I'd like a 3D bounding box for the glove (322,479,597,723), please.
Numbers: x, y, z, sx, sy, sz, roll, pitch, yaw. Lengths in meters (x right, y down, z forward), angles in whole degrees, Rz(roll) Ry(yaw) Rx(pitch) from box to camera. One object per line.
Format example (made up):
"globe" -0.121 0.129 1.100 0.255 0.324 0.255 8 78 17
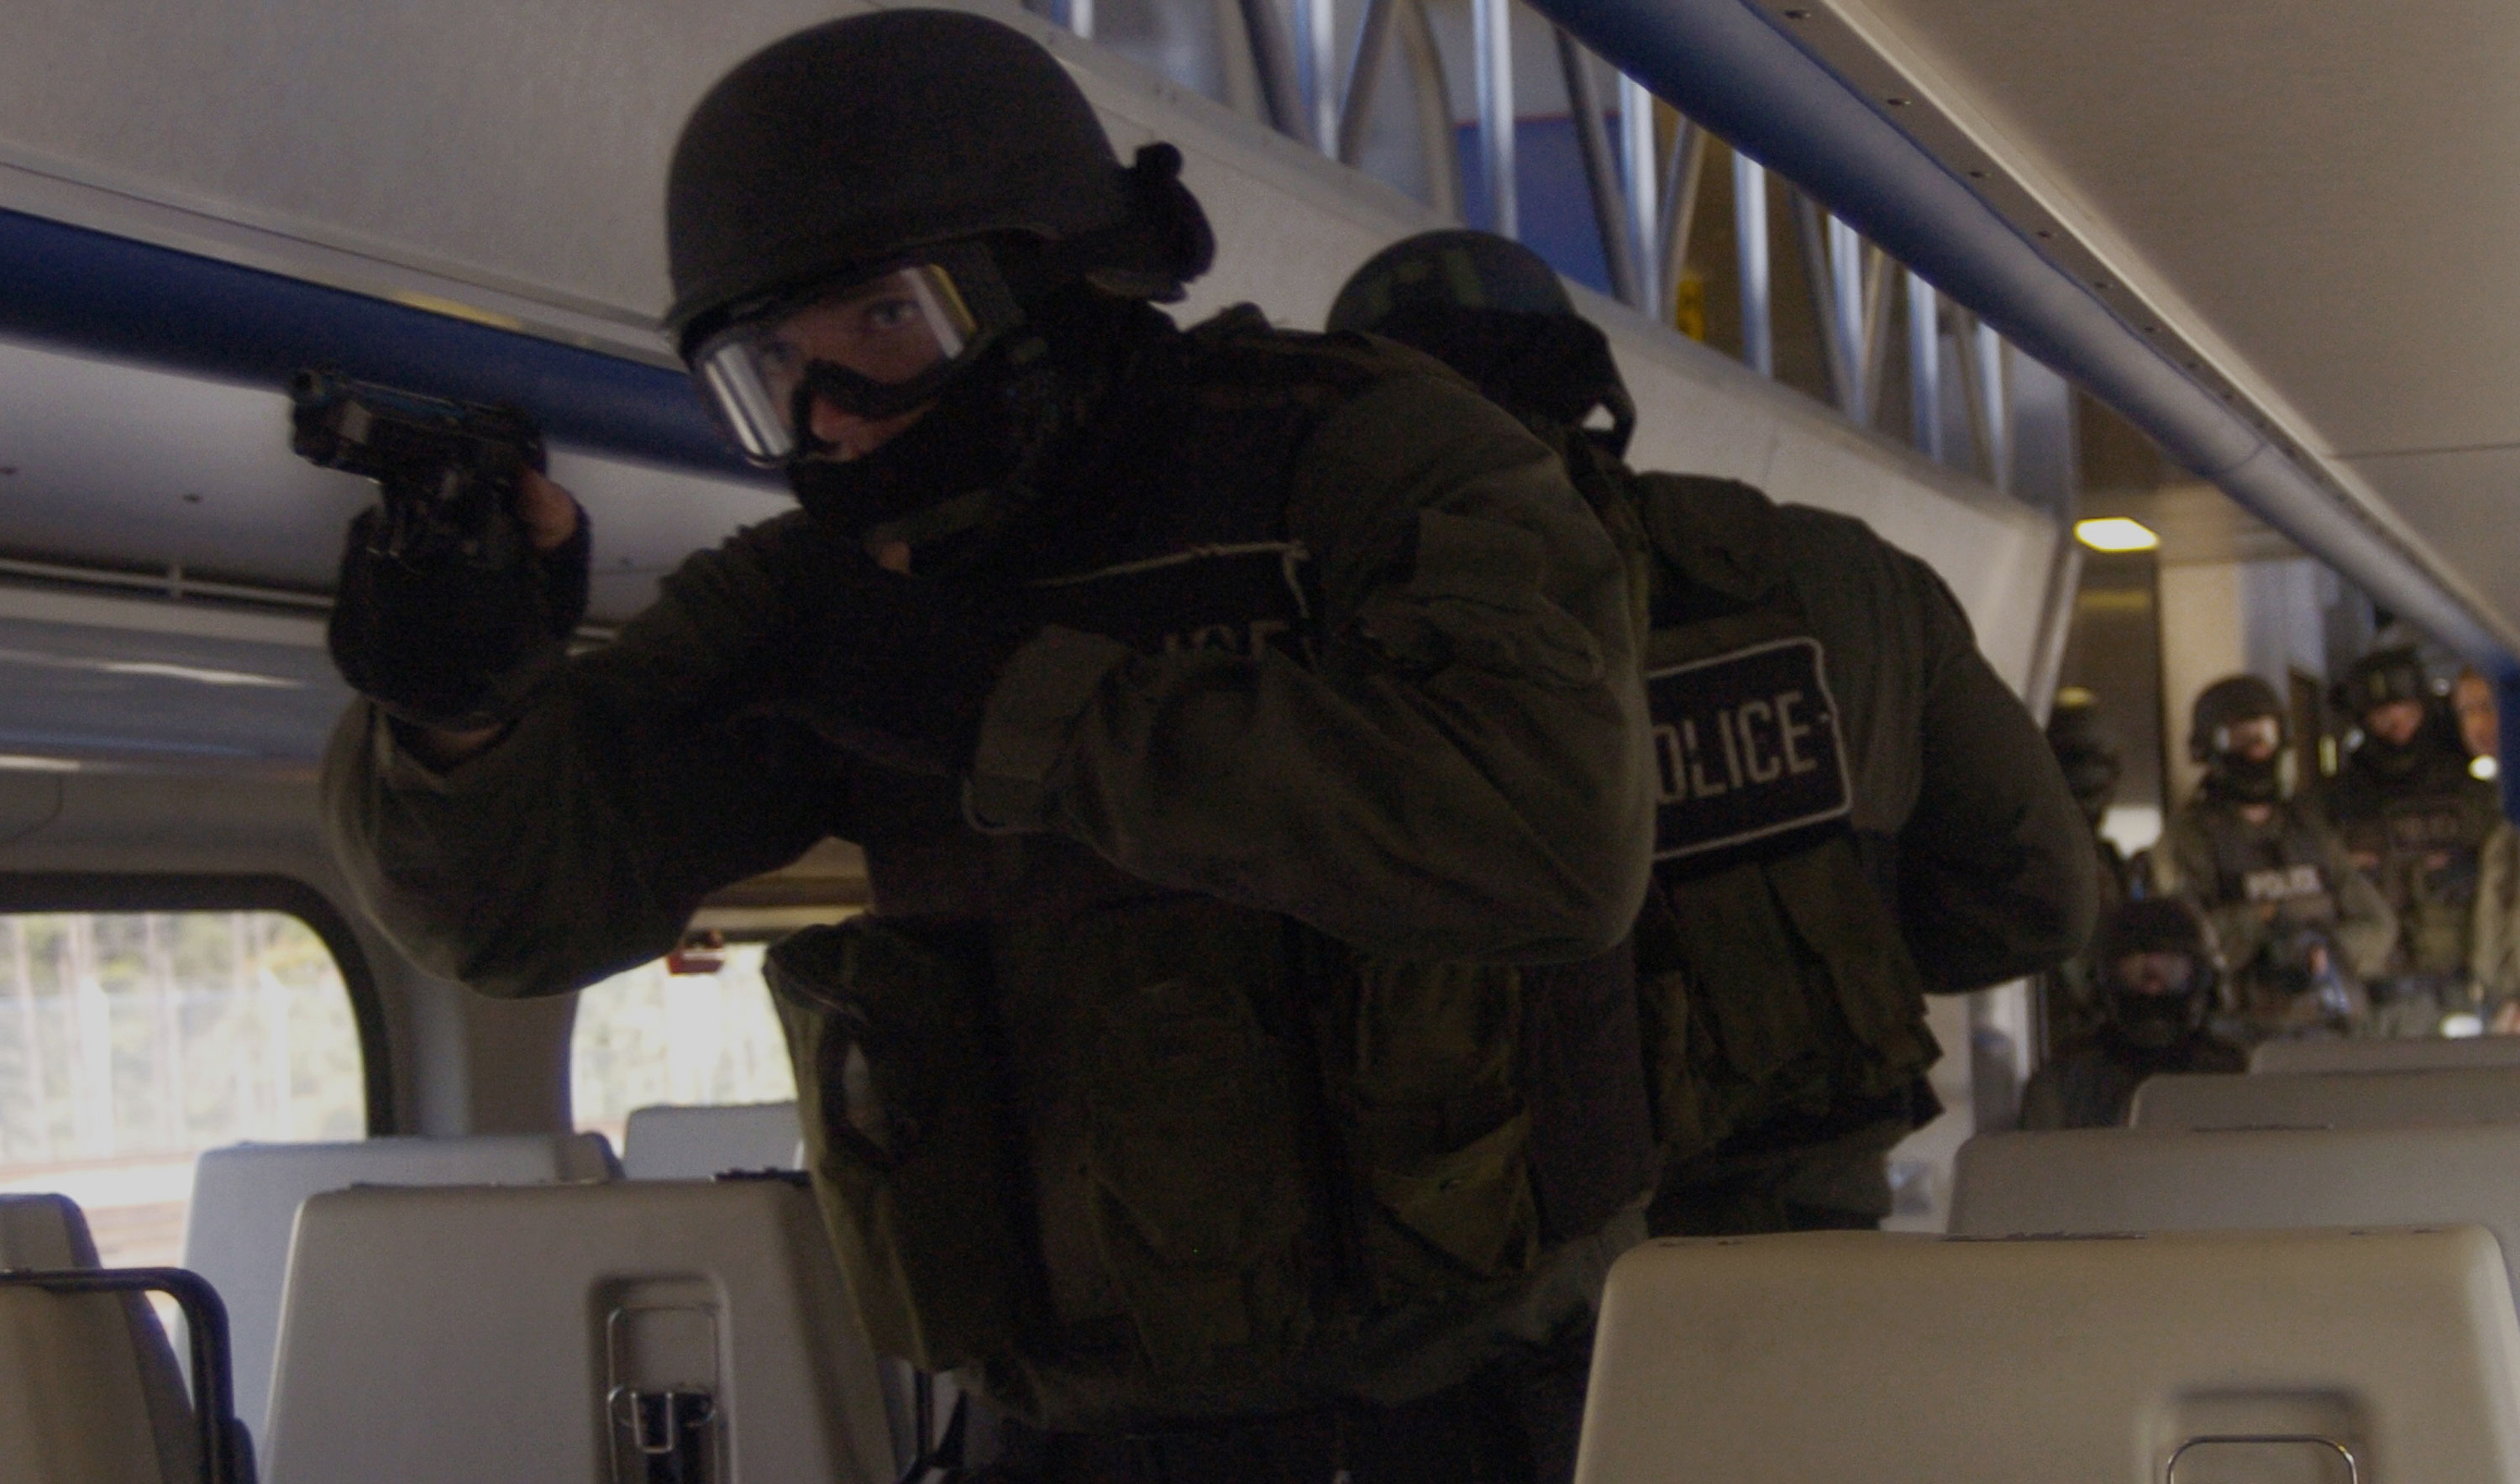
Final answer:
"glove" -1.048 -0.162 3.019 0.281 0.359 0.156 0 3 -10

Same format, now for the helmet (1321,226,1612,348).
"helmet" 0.362 -0.867 4.421 0.508 0.180 0.451 -3 -4 -37

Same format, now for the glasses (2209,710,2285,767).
"glasses" 4.575 -0.001 10.656 0.209 0.157 0.277 -4 -6 -7

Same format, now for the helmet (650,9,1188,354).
"helmet" -0.451 -0.719 3.172 0.598 0.340 0.508 -3 -10 -42

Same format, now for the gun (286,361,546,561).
"gun" -1.084 -0.363 3.067 0.415 0.206 0.145 15 4 -40

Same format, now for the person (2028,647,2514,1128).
"person" 4.136 0.568 9.183 1.141 1.141 2.669 14 35 24

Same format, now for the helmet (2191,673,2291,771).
"helmet" 4.611 -0.108 10.709 0.408 0.373 0.438 -3 -14 -10
